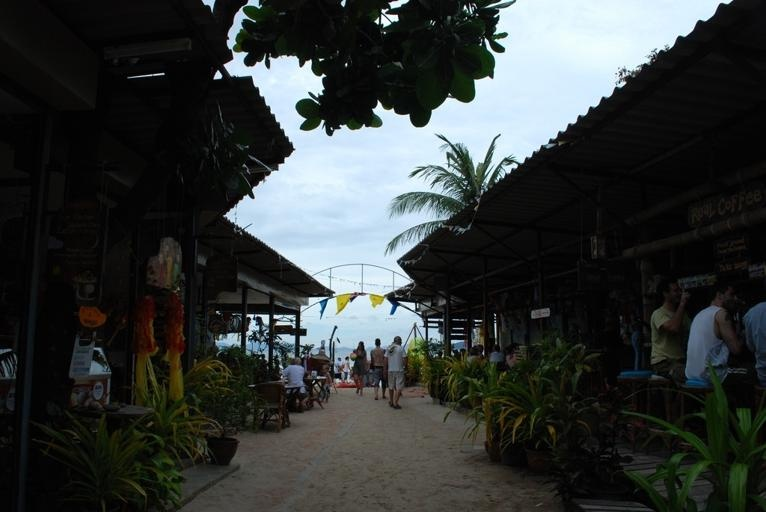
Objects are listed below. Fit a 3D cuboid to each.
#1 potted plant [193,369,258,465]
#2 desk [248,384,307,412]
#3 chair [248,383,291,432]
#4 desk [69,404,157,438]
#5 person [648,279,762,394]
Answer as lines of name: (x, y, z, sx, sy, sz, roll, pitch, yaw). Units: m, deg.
potted plant: (-2.554, 2.565, 9.253, 0.859, 1.420, 3.047, 3, -14, -12)
desk: (-2.364, 3.123, 12.613, 1.245, 0.594, 0.959, -11, -21, 37)
chair: (-2.353, 3.158, 12.010, 0.931, 1.384, 0.993, 0, -4, 0)
desk: (-3.090, 1.847, 6.508, 0.865, 0.285, 0.634, 8, -16, -31)
person: (4.465, 1.146, 7.990, 0.845, 1.489, 1.252, 14, -17, -33)
